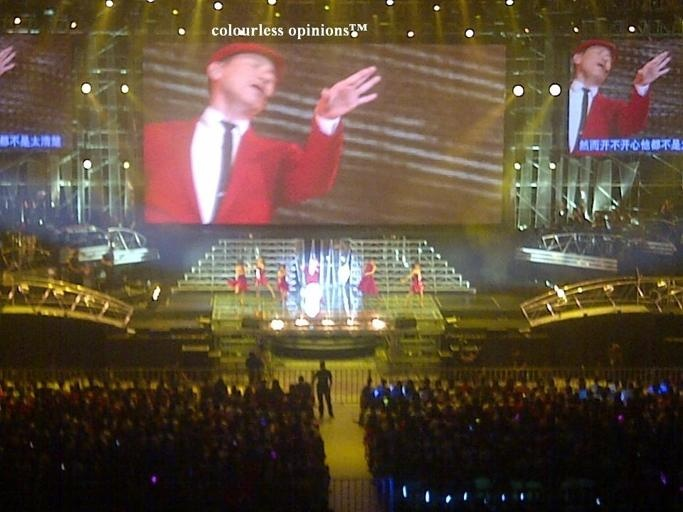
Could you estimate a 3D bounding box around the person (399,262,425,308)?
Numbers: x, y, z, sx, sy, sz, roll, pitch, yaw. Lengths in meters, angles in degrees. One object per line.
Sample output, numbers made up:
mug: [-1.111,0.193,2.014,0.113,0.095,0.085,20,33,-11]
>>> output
person: [1.615,0.620,24.929,0.541,0.985,1.322,0,-4,3]

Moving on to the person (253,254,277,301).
person: [-1.726,0.479,24.936,0.464,0.951,1.439,1,-4,-5]

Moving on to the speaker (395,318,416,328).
speaker: [1.386,1.389,23.336,0.392,0.201,0.260,-2,-5,-1]

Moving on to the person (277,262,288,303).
person: [-1.315,0.580,24.780,0.265,0.860,0.804,1,-4,-3]

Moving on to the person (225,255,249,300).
person: [-2.324,0.481,24.559,0.440,0.929,1.084,1,-4,-5]
